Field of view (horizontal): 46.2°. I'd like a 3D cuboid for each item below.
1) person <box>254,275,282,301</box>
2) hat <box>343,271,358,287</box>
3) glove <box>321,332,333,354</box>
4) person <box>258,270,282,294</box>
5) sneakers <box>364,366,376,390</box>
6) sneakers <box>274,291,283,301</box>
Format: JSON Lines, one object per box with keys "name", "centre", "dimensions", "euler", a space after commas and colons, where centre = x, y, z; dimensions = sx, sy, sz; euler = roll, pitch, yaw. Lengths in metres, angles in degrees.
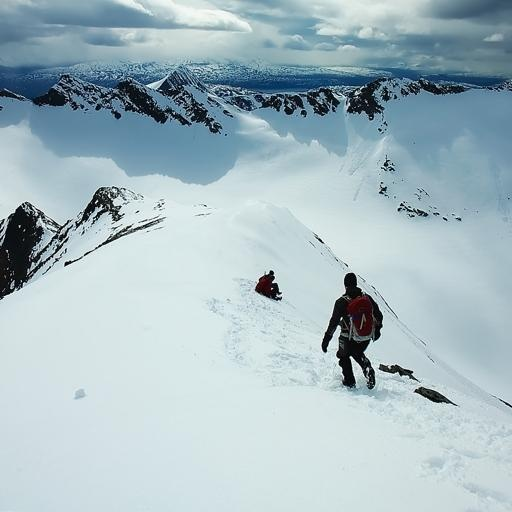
{"name": "person", "centre": [0.492, 1.452, 26.928], "dimensions": [1.075, 1.196, 1.013], "euler": [4, -26, 39]}
{"name": "hat", "centre": [2.697, 0.688, 17.106], "dimensions": [0.398, 0.388, 0.400], "euler": [-1, -5, 7]}
{"name": "glove", "centre": [1.988, 2.510, 17.189], "dimensions": [0.258, 0.700, 0.209], "euler": [17, 23, 3]}
{"name": "person", "centre": [0.548, 1.265, 26.697], "dimensions": [0.994, 1.001, 0.478], "euler": [-1, -13, 10]}
{"name": "sneakers", "centre": [3.157, 3.417, 16.809], "dimensions": [0.305, 0.583, 0.281], "euler": [-8, -7, 6]}
{"name": "sneakers", "centre": [0.991, 1.838, 27.114], "dimensions": [0.216, 0.206, 0.611], "euler": [2, 7, 10]}
